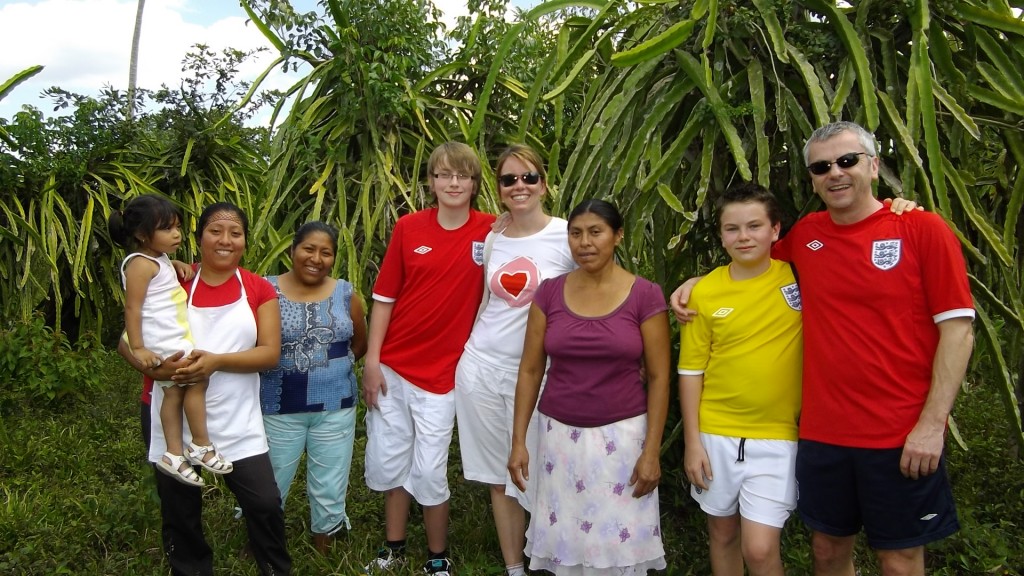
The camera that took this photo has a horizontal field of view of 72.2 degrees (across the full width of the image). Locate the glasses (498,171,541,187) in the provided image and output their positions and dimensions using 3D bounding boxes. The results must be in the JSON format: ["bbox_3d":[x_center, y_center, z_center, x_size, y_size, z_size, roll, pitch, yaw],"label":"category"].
[{"bbox_3d":[0.050,-0.715,4.624,0.273,0.089,0.058,-3,-3,3],"label":"glasses"}]

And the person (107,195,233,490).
[{"bbox_3d":[-2.185,0.343,4.510,0.686,1.904,0.290,-2,-3,-18],"label":"person"}]

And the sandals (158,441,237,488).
[{"bbox_3d":[-2.018,1.098,4.525,0.489,0.214,0.224,15,10,-7],"label":"sandals"}]
